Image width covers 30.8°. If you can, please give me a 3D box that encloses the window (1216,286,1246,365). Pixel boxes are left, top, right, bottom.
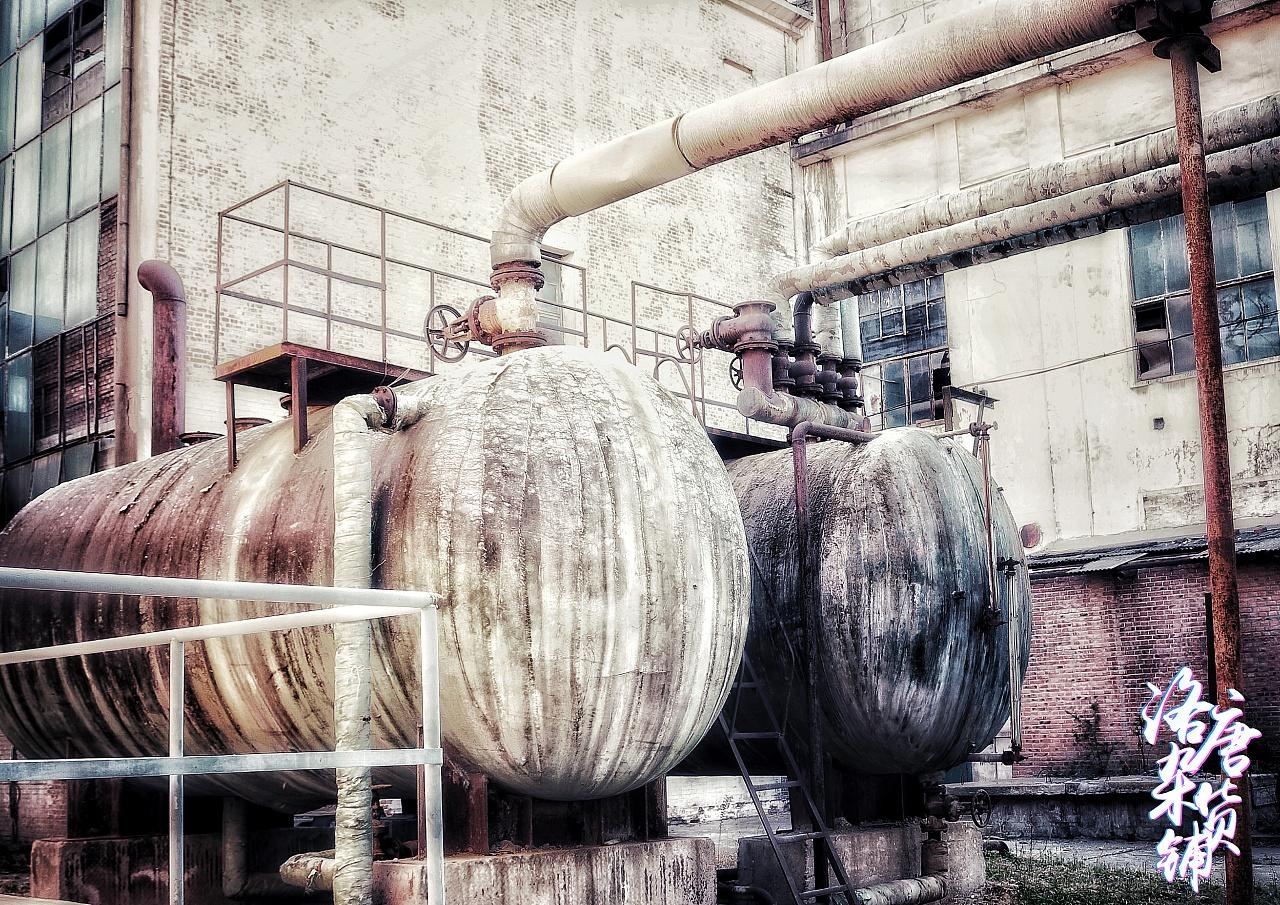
[{"bbox_3d":[10.678,-2.245,41.059,0.431,0.031,1.719,-4,-50,15],"label":"window"}]

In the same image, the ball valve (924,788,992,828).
[{"bbox_3d":[4.397,4.821,31.515,0.900,0.465,0.485,-5,-2,39],"label":"ball valve"}]

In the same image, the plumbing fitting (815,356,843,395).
[{"bbox_3d":[2.829,-1.131,33.895,0.413,0.553,0.575,2,-11,-11],"label":"plumbing fitting"}]

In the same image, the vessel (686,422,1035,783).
[{"bbox_3d":[2.372,2.266,33.275,6.140,4.822,4.698,-8,-15,40],"label":"vessel"}]

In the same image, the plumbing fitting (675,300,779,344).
[{"bbox_3d":[1.285,-1.796,33.098,0.555,0.521,1.492,7,-13,-41],"label":"plumbing fitting"}]
